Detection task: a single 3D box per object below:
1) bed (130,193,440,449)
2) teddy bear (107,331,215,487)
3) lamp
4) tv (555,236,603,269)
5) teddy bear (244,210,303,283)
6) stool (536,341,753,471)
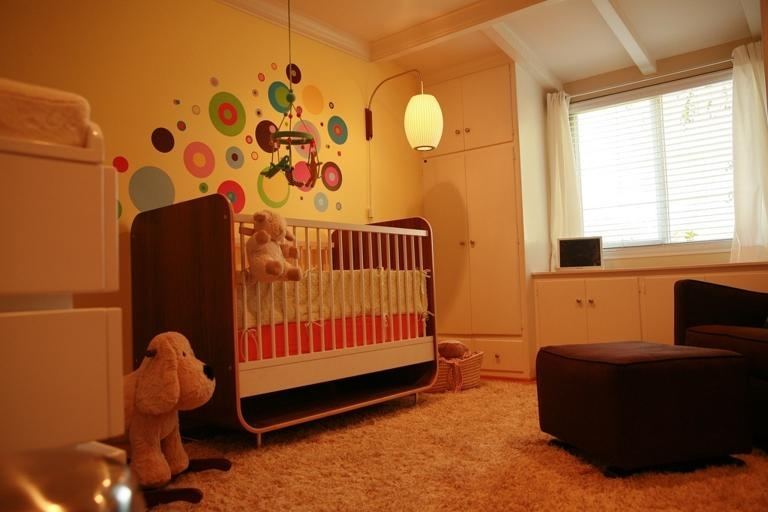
[{"bbox_3d":[-0.567,0.388,3.942,1.133,1.430,1.858,-4,-3,42],"label":"bed"},{"bbox_3d":[-1.175,0.736,2.839,0.688,0.721,0.429,1,-8,-4],"label":"teddy bear"},{"bbox_3d":[0.137,-1.160,4.671,0.693,0.660,0.274,-4,-4,32],"label":"lamp"},{"bbox_3d":[1.640,-0.028,4.915,0.264,0.205,0.038,-1,-3,31],"label":"tv"},{"bbox_3d":[-0.632,-0.061,3.255,0.283,0.405,0.348,-17,-20,36],"label":"teddy bear"},{"bbox_3d":[1.285,0.697,2.869,0.630,0.424,0.641,0,-3,-19],"label":"stool"}]
